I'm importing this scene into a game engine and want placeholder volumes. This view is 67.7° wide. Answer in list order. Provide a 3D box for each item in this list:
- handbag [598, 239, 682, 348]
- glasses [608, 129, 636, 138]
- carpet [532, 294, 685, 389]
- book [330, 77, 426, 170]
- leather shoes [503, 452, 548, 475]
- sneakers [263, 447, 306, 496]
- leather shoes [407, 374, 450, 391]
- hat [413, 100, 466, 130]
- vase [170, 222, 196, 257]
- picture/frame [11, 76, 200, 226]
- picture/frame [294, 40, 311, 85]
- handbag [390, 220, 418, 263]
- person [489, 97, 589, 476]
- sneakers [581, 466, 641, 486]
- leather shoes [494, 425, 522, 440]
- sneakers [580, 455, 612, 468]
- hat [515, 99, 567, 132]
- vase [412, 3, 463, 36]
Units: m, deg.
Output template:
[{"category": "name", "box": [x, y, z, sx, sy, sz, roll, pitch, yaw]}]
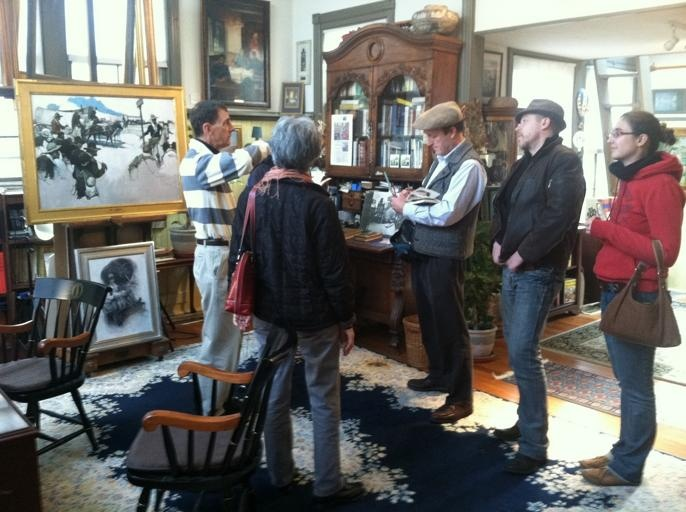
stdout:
[{"category": "handbag", "box": [1.505, 0.180, 2.572, 0.352, 0.514, 0.164, 7, 15, 27]}, {"category": "glasses", "box": [1.443, -0.643, 2.654, 0.026, 0.052, 0.114, -9, 17, -33]}, {"category": "carpet", "box": [1.804, 0.625, 3.526, 0.540, 0.013, 0.786, -8, 9, -20]}, {"category": "book", "box": [0.363, -1.276, 4.880, 0.963, 0.826, 0.329, 7, 8, 41]}, {"category": "leather shoes", "box": [1.038, 1.192, 2.925, 0.236, 0.101, 0.096, 1, 0, -28]}, {"category": "sneakers", "box": [-0.284, 1.206, 2.868, 0.160, 0.238, 0.247, -15, -12, 1]}, {"category": "leather shoes", "box": [0.646, 0.946, 3.879, 0.300, 0.127, 0.121, 7, 4, 12]}, {"category": "hat", "box": [0.660, -0.914, 3.364, 0.271, 0.103, 0.214, -13, 13, -31]}, {"category": "vase", "box": [-1.534, -0.150, 5.083, 0.303, 0.280, 0.302, 1, 4, -4]}, {"category": "picture/frame", "box": [-1.833, -0.801, 3.971, 1.326, 1.113, 0.127, -6, 11, -31]}, {"category": "picture/frame", "box": [-0.478, -2.374, 6.276, 0.076, 0.519, 0.303, -10, 17, -35]}, {"category": "handbag", "box": [0.431, -0.106, 3.597, 0.101, 0.251, 0.202, 11, 13, -5]}, {"category": "person", "box": [1.114, 0.166, 2.965, 0.446, 2.077, 0.619, 1, 13, 7]}, {"category": "sneakers", "box": [1.484, 1.211, 2.839, 0.263, 0.085, 0.111, 3, -3, 11]}, {"category": "leather shoes", "box": [1.043, 1.130, 3.240, 0.183, 0.078, 0.073, 3, 2, 11]}, {"category": "sneakers", "box": [1.437, 1.172, 2.957, 0.182, 0.072, 0.068, 0, -2, 12]}, {"category": "hat", "box": [1.133, -0.813, 2.927, 0.240, 0.091, 0.199, 18, -3, 4]}, {"category": "vase", "box": [0.832, -2.079, 4.507, 0.338, 0.184, 0.331, -6, 10, -33]}]
